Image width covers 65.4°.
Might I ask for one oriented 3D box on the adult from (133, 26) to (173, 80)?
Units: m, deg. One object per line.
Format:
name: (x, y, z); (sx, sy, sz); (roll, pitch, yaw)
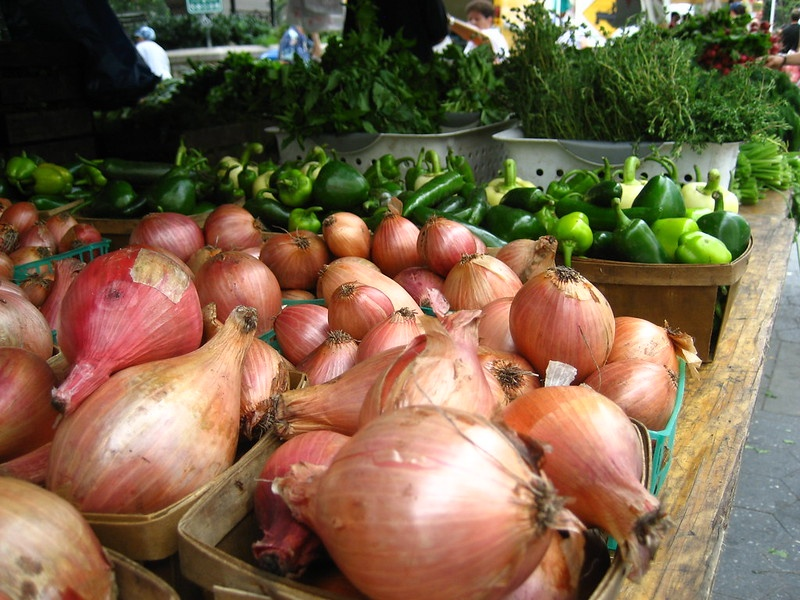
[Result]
adult: (-2.688, -2.586, 6.864); (0.251, 0.859, 0.247); (-3, -9, 13)
